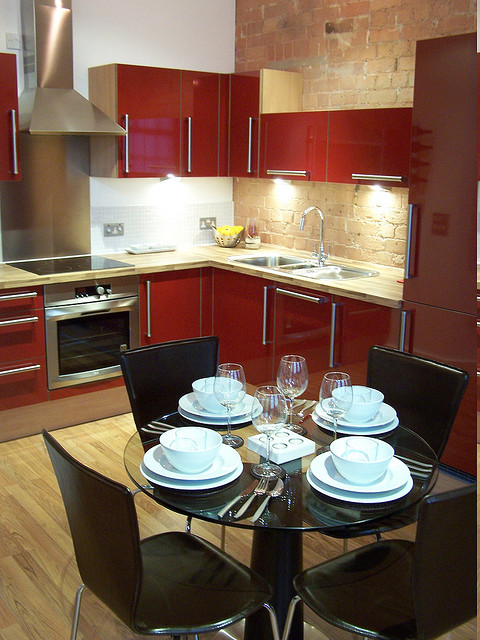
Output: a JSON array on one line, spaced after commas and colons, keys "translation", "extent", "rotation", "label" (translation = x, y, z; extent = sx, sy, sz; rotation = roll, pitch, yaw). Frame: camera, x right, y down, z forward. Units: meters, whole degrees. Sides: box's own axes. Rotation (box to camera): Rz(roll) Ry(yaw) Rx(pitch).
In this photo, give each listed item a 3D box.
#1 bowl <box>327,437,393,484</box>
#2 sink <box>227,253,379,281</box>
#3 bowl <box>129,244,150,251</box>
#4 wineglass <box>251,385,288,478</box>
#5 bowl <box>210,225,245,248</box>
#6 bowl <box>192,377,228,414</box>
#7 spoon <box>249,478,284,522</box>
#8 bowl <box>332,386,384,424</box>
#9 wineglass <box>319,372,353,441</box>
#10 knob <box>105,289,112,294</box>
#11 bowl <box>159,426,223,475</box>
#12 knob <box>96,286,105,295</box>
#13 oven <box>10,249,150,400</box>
[{"translation": [0.251, 0.326, 1.098], "extent": [0.143, 0.082, 0.143], "rotation": [-3, -28, -2], "label": "bowl"}, {"translation": [0.391, -0.385, 3.450], "extent": [0.533, 0.147, 1.096], "rotation": [-5, 11, -39], "label": "sink"}, {"translation": [-0.794, -0.568, 3.849], "extent": [0.141, 0.048, 0.204], "rotation": [-3, 10, -26], "label": "bowl"}, {"translation": [0.066, 0.250, 1.179], "extent": [0.080, 0.198, 0.199], "rotation": [2, 8, 2], "label": "wineglass"}, {"translation": [-0.100, -0.716, 4.190], "extent": [0.244, 0.151, 0.210], "rotation": [3, 12, 6], "label": "bowl"}, {"translation": [-0.096, 0.227, 1.473], "extent": [0.089, 0.054, 0.090], "rotation": [1, 24, 0], "label": "bowl"}, {"translation": [0.050, 0.363, 1.017], "extent": [0.024, 0.016, 0.143], "rotation": [7, 20, 16], "label": "spoon"}, {"translation": [0.316, 0.233, 1.310], "extent": [0.139, 0.080, 0.140], "rotation": [0, 24, 0], "label": "bowl"}, {"translation": [0.245, 0.194, 1.264], "extent": [0.074, 0.094, 0.112], "rotation": [3, 8, 6], "label": "wineglass"}, {"translation": [-0.864, -0.190, 3.225], "extent": [0.020, 0.020, 0.037], "rotation": [8, -15, -22], "label": "knob"}, {"translation": [-0.114, 0.294, 1.123], "extent": [0.135, 0.073, 0.199], "rotation": [1, 9, -5], "label": "bowl"}, {"translation": [-0.906, -0.191, 3.175], "extent": [0.016, 0.050, 0.050], "rotation": [6, 9, 44], "label": "knob"}, {"translation": [-1.099, -0.033, 3.451], "extent": [0.723, 0.827, 0.714], "rotation": [-18, 37, -41], "label": "oven"}]
